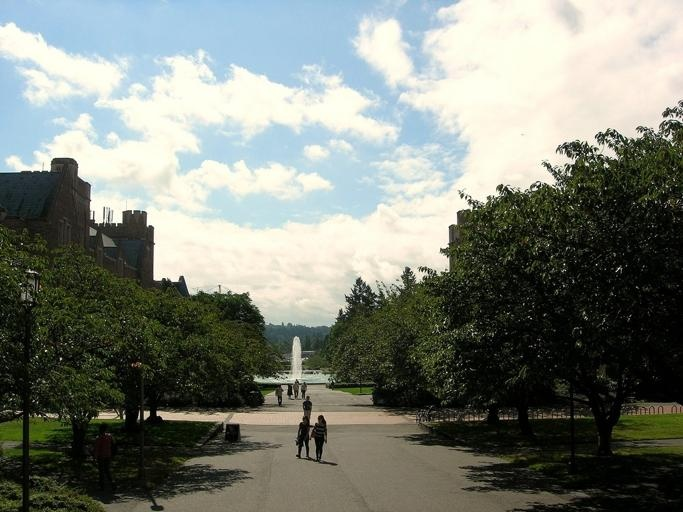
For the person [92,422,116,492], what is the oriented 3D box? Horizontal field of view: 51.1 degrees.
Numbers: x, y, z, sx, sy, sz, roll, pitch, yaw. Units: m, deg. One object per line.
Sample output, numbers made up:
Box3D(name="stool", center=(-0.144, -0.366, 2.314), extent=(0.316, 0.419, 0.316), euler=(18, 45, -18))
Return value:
Box3D(name="person", center=(-8.833, 7.420, 26.544), extent=(0.684, 2.390, 1.430), euler=(1, -4, -19))
